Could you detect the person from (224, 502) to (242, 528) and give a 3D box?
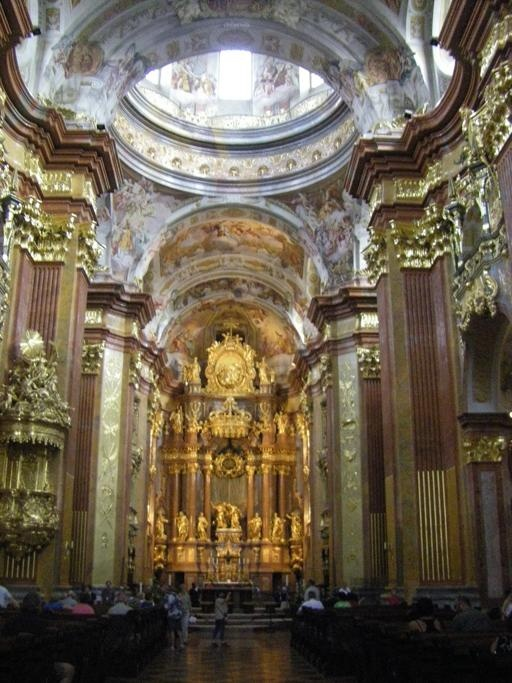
[{"bbox_3d":[-0.979,7.498,25.030,0.895,1.693,0.248,3,-41,-7],"label":"person"}]

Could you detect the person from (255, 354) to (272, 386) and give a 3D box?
[{"bbox_3d":[0.367,1.381,26.295,0.563,1.522,0.789,8,-19,-24],"label":"person"}]

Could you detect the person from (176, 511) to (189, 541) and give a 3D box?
[{"bbox_3d":[-3.042,7.689,24.227,0.543,1.115,0.241,2,-17,-6],"label":"person"}]

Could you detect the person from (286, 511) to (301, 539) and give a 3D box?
[{"bbox_3d":[1.592,7.746,24.440,0.337,1.148,0.896,13,-22,-38],"label":"person"}]

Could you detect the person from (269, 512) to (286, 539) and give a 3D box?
[{"bbox_3d":[0.940,7.871,24.542,0.631,1.131,0.394,0,-17,-1],"label":"person"}]

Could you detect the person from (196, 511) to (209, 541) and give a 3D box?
[{"bbox_3d":[-2.234,7.788,24.500,0.461,1.106,0.337,11,-20,-33],"label":"person"}]

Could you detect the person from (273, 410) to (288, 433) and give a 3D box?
[{"bbox_3d":[1.079,3.579,25.802,0.784,1.251,0.373,1,-31,-4],"label":"person"}]
